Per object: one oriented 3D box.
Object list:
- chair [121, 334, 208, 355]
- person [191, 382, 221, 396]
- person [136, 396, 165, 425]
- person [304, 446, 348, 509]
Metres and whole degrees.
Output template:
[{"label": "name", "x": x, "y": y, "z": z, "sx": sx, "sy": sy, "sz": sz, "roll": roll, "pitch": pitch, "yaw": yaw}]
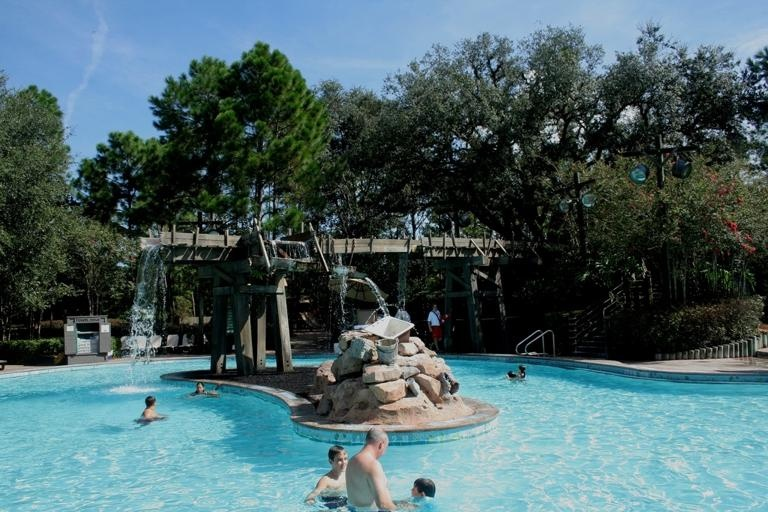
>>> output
[{"label": "chair", "x": -11.848, "y": 4.614, "z": 31.168, "sx": 3.416, "sy": 0.900, "sz": 1.536, "roll": 3, "pitch": -11, "yaw": -35}, {"label": "person", "x": -6.180, "y": 4.582, "z": 20.539, "sx": 0.858, "sy": 0.494, "sz": 0.779, "roll": -1, "pitch": -9, "yaw": -15}, {"label": "person", "x": -7.028, "y": 4.574, "z": 17.700, "sx": 0.813, "sy": 0.773, "sz": 0.621, "roll": -7, "pitch": -9, "yaw": 24}, {"label": "person", "x": -1.264, "y": 4.849, "z": 12.923, "sx": 1.017, "sy": 0.891, "sz": 0.564, "roll": 15, "pitch": -17, "yaw": -33}]
